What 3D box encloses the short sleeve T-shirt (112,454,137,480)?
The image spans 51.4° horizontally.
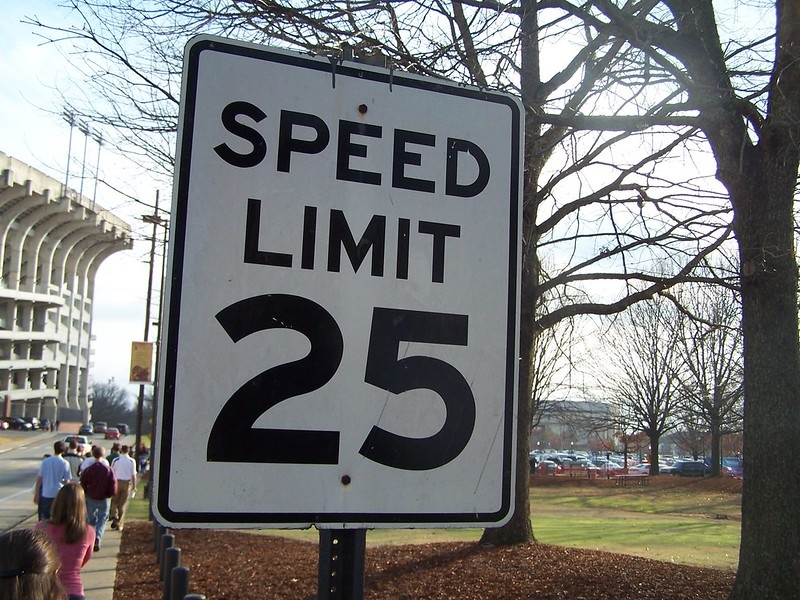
[{"bbox_3d":[-5.593,3.365,16.876,0.458,0.523,0.960,4,-12,-20],"label":"short sleeve T-shirt"}]

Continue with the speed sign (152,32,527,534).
[{"bbox_3d":[-0.323,-0.103,4.477,1.871,2.568,0.255,1,-9,-7],"label":"speed sign"}]

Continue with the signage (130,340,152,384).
[{"bbox_3d":[-8.854,2.105,28.549,0.705,1.523,0.959,4,-11,-21],"label":"signage"}]
